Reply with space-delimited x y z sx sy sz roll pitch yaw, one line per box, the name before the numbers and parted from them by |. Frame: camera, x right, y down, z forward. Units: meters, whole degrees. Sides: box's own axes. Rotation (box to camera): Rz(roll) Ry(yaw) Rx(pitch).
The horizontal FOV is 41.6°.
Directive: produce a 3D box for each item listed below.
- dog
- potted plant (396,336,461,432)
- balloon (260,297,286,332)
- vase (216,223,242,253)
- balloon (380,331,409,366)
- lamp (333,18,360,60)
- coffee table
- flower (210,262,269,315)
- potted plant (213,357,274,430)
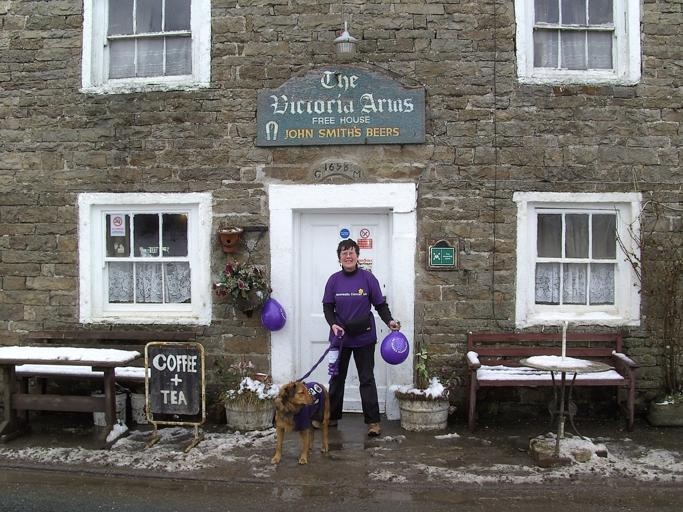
dog | -0.459 1.746 9.630 0.575 0.867 0.816 -3 0 8
potted plant | 0.967 1.592 10.722 0.930 0.984 0.904 -1 -3 14
balloon | -0.812 0.674 10.665 0.292 0.399 0.209 -3 0 -3
vase | -1.339 -0.172 10.768 0.258 0.331 0.188 -3 0 12
balloon | 0.602 1.047 10.119 0.262 0.377 0.311 -3 0 29
lamp | 0.040 -2.573 10.636 0.282 0.465 0.227 -3 0 0
coffee table | 2.453 1.540 9.455 1.104 1.051 1.148 5 7 40
flower | -1.199 0.386 10.693 0.590 0.648 0.372 -3 0 19
potted plant | -1.178 1.634 10.589 0.804 0.683 0.739 1 -3 -23
